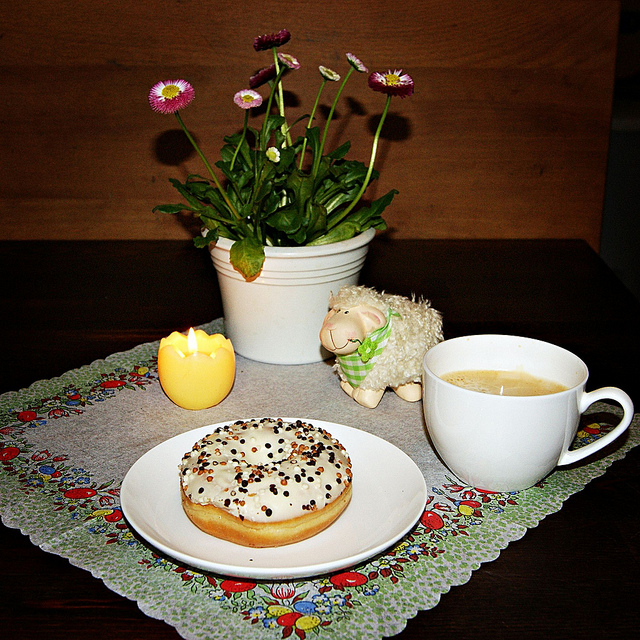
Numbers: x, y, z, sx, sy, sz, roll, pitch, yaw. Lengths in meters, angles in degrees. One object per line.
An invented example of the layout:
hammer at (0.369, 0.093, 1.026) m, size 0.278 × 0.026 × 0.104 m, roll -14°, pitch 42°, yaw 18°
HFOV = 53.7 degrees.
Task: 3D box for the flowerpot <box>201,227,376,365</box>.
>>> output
flowerpot at (-0.049, -0.049, 0.803) m, size 0.225 × 0.121 × 0.186 m, roll 0°, pitch 25°, yaw -2°

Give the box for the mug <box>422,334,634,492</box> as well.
mug at (0.154, 0.067, 0.537) m, size 0.187 × 0.087 × 0.130 m, roll 4°, pitch 16°, yaw 18°

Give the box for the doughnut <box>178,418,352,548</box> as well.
doughnut at (-0.038, 0.120, 0.498) m, size 0.130 × 0.038 × 0.125 m, roll -20°, pitch 28°, yaw -27°
